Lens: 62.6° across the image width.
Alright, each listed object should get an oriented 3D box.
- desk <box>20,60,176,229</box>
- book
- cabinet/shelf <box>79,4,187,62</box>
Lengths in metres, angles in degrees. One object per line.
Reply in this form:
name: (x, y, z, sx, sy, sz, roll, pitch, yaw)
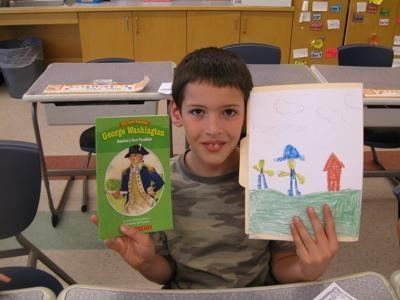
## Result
desk: (-0.634, -0.086, 2.712, 1.208, 1.078, 1.186, -1, 37, -1)
book: (-0.175, 0.080, 0.872, 0.194, 0.315, 0.143, 0, -10, -5)
cabinet/shelf: (-0.897, -1.494, 4.346, 1.605, 0.843, 0.474, -4, 44, -16)
